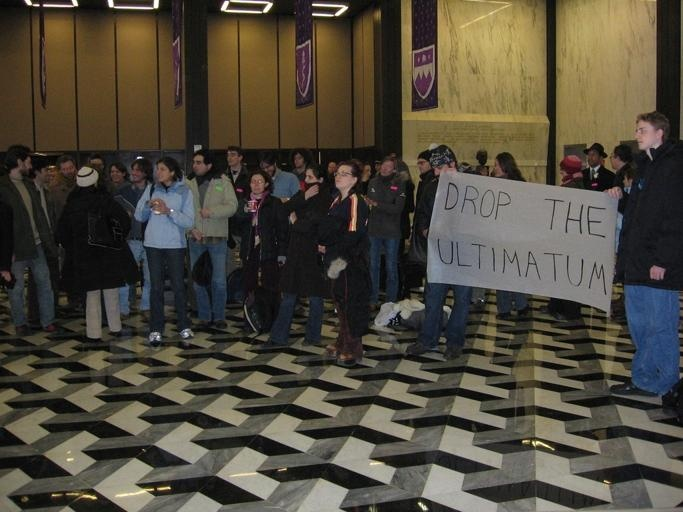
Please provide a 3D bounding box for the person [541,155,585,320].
[{"bbox_3d":[2.547,-0.166,6.339,0.378,1.928,1.034,3,8,23],"label":"person"}]

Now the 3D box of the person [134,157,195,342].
[{"bbox_3d":[-1.780,-0.056,5.725,0.576,1.889,0.462,-4,8,-22],"label":"person"}]

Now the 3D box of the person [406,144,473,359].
[{"bbox_3d":[0.920,-0.032,5.228,0.571,1.979,0.506,2,8,18],"label":"person"}]

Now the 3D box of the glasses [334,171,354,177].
[{"bbox_3d":[0.028,-0.711,4.875,0.143,0.042,0.054,0,8,6],"label":"glasses"}]

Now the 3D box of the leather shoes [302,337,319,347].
[{"bbox_3d":[-0.305,0.885,5.702,0.191,0.080,0.068,12,-9,-41],"label":"leather shoes"}]

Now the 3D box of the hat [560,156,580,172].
[{"bbox_3d":[2.494,-0.996,6.115,0.190,0.124,0.196,-5,26,-12],"label":"hat"}]

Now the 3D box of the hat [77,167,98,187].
[{"bbox_3d":[-2.569,-0.800,5.643,0.199,0.213,0.238,-4,9,-24],"label":"hat"}]

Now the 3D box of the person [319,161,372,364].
[{"bbox_3d":[0.023,0.081,4.991,0.468,1.827,0.365,2,8,20],"label":"person"}]

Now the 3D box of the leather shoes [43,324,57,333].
[{"bbox_3d":[-3.214,0.808,6.175,0.134,0.087,0.074,-11,14,-22],"label":"leather shoes"}]

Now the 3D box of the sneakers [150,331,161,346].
[{"bbox_3d":[-1.864,0.834,5.598,0.127,0.133,0.093,-1,-11,18],"label":"sneakers"}]

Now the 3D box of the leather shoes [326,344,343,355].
[{"bbox_3d":[-0.061,0.893,5.277,0.127,0.071,0.177,3,3,1],"label":"leather shoes"}]

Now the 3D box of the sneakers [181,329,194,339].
[{"bbox_3d":[-1.610,0.820,5.812,0.104,0.063,0.173,0,6,-13],"label":"sneakers"}]

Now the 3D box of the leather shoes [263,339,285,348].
[{"bbox_3d":[-0.668,0.890,5.603,0.239,0.107,0.083,6,-4,-16],"label":"leather shoes"}]

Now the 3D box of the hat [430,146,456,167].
[{"bbox_3d":[0.929,-0.923,5.174,0.225,0.202,0.165,23,27,34],"label":"hat"}]

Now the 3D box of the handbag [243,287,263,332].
[{"bbox_3d":[-0.887,0.595,5.910,0.115,0.368,0.264,-14,20,-40],"label":"handbag"}]

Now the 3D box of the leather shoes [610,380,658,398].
[{"bbox_3d":[2.250,1.006,4.296,0.283,0.092,0.115,4,2,22],"label":"leather shoes"}]

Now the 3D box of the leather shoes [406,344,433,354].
[{"bbox_3d":[0.748,0.898,5.404,0.248,0.111,0.101,6,2,-11],"label":"leather shoes"}]

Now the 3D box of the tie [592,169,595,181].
[{"bbox_3d":[3.487,-1.123,7.731,0.030,0.090,0.050,25,-27,-36],"label":"tie"}]
